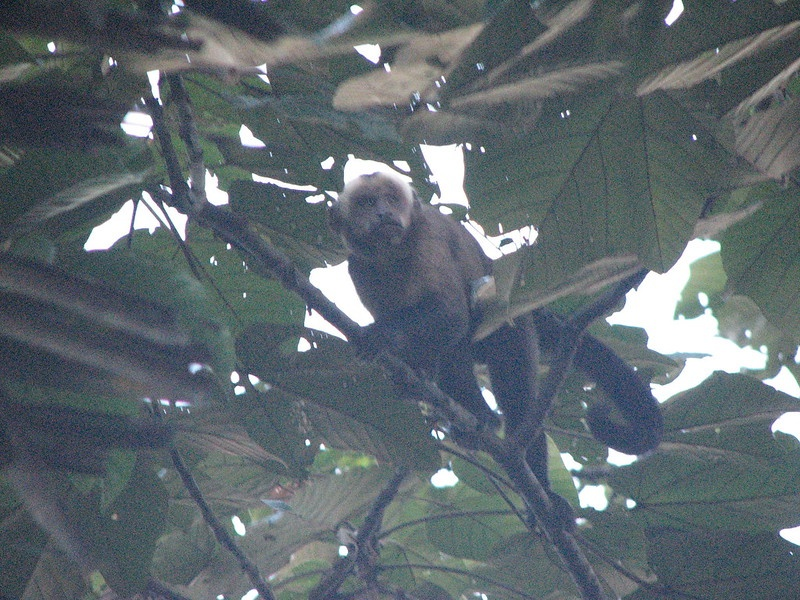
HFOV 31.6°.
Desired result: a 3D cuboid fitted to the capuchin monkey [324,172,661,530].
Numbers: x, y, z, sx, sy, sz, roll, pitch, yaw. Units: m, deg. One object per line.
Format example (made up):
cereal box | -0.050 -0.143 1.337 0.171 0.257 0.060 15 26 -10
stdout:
capuchin monkey | 0.177 0.114 2.648 0.649 0.320 0.208 48 -38 -13
